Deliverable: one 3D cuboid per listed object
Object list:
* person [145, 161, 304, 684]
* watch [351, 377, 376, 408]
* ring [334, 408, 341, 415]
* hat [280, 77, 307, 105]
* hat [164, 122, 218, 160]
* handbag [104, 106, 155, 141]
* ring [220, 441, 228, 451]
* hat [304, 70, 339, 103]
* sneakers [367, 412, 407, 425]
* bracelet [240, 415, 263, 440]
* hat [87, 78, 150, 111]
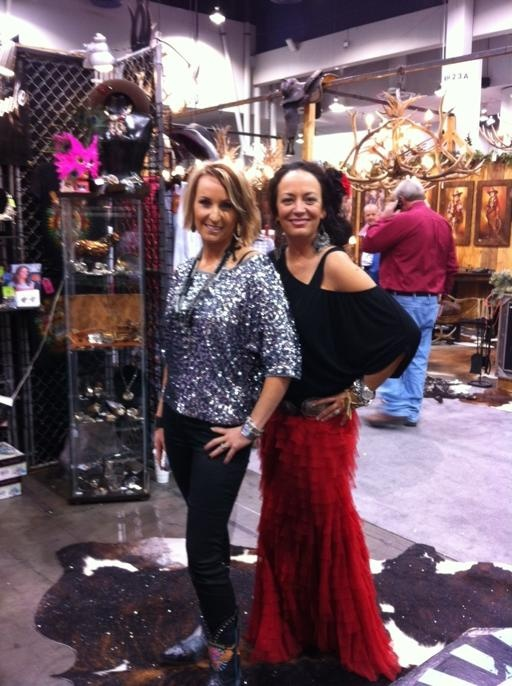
[{"bbox_3d":[-0.084,0.236,1.439,0.287,1.370,0.362,1,10,-17],"label":"person"},{"bbox_3d":[0.278,0.135,1.523,0.064,0.069,0.077,0,-4,3],"label":"watch"},{"bbox_3d":[0.215,0.178,1.468,0.016,0.012,0.014,0,0,0],"label":"ring"},{"bbox_3d":[0.223,-1.505,3.372,0.160,0.183,0.174,-2,22,7],"label":"hat"},{"bbox_3d":[-0.387,-1.175,3.266,0.224,0.164,0.527,-17,27,-19],"label":"hat"},{"bbox_3d":[-0.608,-1.039,2.736,0.308,0.187,0.150,-1,14,-2],"label":"handbag"},{"bbox_3d":[-0.074,0.234,1.282,0.005,0.015,0.017,-8,13,-26],"label":"ring"},{"bbox_3d":[0.391,-1.539,3.314,0.088,0.199,0.163,12,0,-40],"label":"hat"},{"bbox_3d":[0.989,0.563,4.217,0.274,0.101,0.102,2,2,6],"label":"sneakers"},{"bbox_3d":[-0.010,0.191,1.272,0.047,0.040,0.052,10,-4,1],"label":"bracelet"},{"bbox_3d":[-0.658,-1.214,2.766,0.309,0.181,0.155,0,9,-21],"label":"hat"}]
